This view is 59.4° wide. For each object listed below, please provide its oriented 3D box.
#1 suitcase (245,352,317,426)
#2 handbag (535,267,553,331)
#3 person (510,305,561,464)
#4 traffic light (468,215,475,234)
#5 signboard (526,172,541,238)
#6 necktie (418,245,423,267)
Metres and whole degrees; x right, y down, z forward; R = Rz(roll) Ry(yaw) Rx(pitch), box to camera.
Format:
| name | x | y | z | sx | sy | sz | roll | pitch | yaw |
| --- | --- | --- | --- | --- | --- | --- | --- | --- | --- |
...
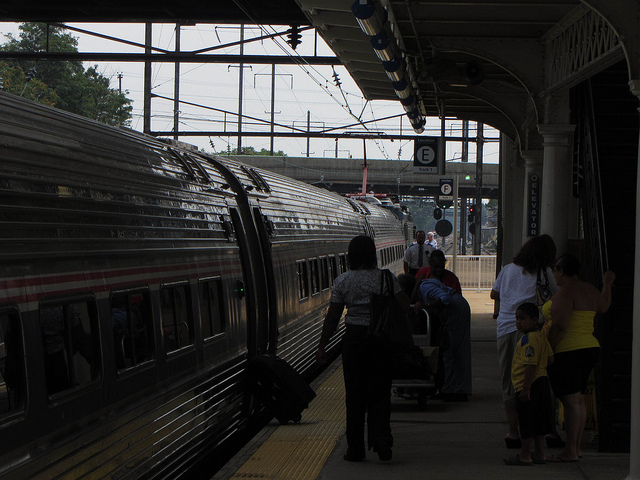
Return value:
| name | x | y | z | sx | sy | sz | roll | pitch | yaw |
| --- | --- | --- | --- | --- | --- | --- | --- | --- | --- |
| suitcase | -0.535 | 1.863 | 7.051 | 0.335 | 0.937 | 0.720 | -45 | 20 | -2 |
| handbag | 2.442 | 0.635 | 6.100 | 0.136 | 0.682 | 0.242 | -2 | -4 | 40 |
| person | 2.253 | 1.484 | 5.846 | 0.469 | 1.676 | 1.430 | -1 | -3 | 23 |
| traffic light | 9.871 | -1.072 | 36.358 | 0.282 | 1.337 | 1.912 | 0 | -3 | 14 |
| signboard | 4.906 | -0.848 | 12.830 | 0.311 | 1.559 | 0.713 | -1 | -3 | 23 |
| necktie | 2.996 | 0.458 | 16.687 | 0.131 | 0.616 | 0.208 | 0 | -3 | 11 |
